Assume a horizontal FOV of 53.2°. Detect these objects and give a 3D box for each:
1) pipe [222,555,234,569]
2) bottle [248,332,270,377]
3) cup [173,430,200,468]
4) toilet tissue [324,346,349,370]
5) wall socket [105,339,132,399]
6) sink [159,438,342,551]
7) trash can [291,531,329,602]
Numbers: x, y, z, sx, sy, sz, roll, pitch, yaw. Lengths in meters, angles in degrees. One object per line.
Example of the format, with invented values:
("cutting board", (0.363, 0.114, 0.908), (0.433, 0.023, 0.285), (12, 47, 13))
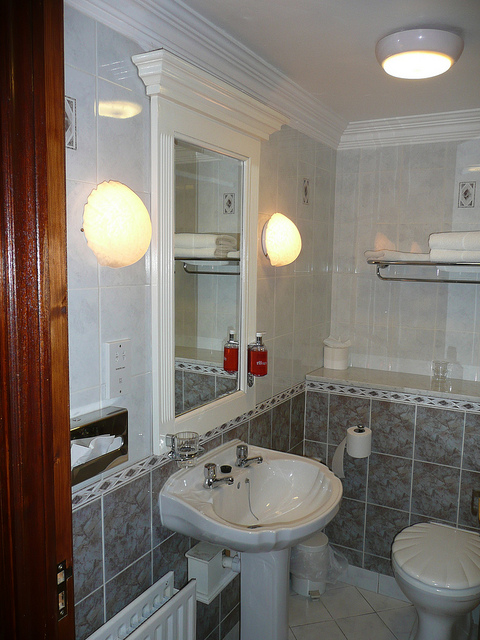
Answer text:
("pipe", (-0.039, 0.808, 1.613), (0.037, 0.037, 0.032), (-4, -16, 22))
("bottle", (0.066, 0.126, 1.879), (0.073, 0.172, 0.068), (0, 18, 0))
("cup", (-0.158, 0.384, 1.445), (0.094, 0.104, 0.063), (-3, 5, -25))
("toilet tissue", (0.549, 0.212, 2.779), (0.118, 0.132, 0.125), (-1, 7, -19))
("wall socket", (-0.310, 0.123, 1.226), (0.021, 0.141, 0.093), (1, 4, 24))
("sink", (0.061, 0.566, 1.548), (0.330, 0.219, 0.440), (9, 13, 29))
("trash can", (0.354, 1.233, 2.424), (0.178, 0.258, 0.198), (3, 1, -41))
